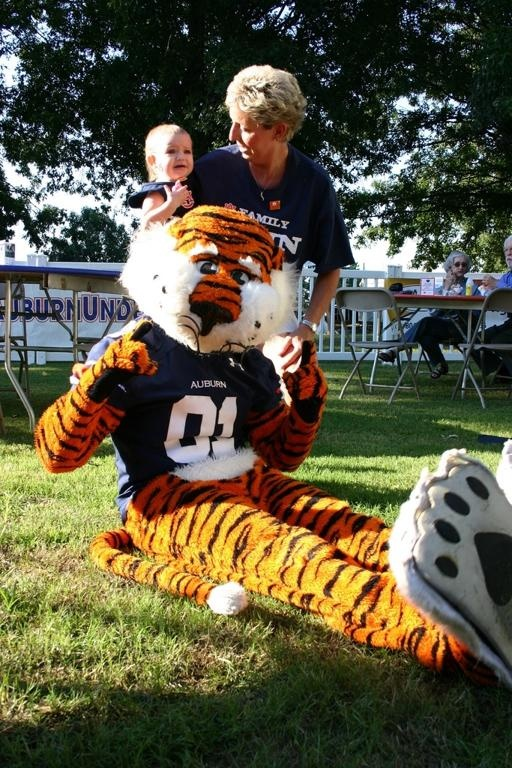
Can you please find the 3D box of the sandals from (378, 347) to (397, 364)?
[{"bbox_3d":[1.436,-0.285,8.161,0.162,0.177,0.457,5,8,17],"label":"sandals"}]

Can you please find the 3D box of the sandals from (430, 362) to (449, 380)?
[{"bbox_3d":[2.100,-0.143,8.608,0.130,0.156,0.392,-5,11,44],"label":"sandals"}]

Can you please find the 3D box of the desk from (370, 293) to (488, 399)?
[{"bbox_3d":[1.573,-0.256,6.834,0.822,0.783,1.192,-1,8,1],"label":"desk"}]
